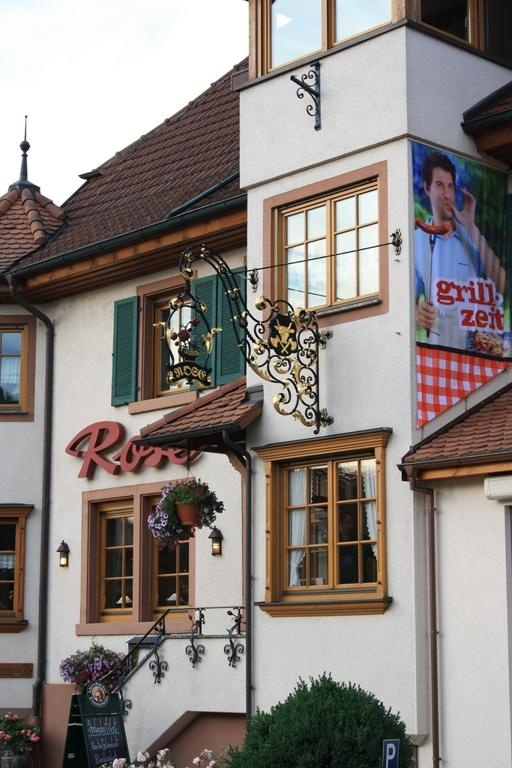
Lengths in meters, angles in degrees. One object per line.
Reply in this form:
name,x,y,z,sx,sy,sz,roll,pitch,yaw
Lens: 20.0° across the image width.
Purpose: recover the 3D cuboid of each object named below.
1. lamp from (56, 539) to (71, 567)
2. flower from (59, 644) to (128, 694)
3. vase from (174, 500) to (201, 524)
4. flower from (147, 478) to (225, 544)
lamp,-2.235,1.970,16.741,0.127,0.292,0.189,9,-16,-37
flower,-1.719,3.008,15.297,0.548,0.529,0.592,-7,9,-6
vase,-0.622,1.171,13.219,0.186,0.162,0.189,-11,-15,40
flower,-0.665,1.163,13.387,0.649,0.601,0.440,-11,-16,40
